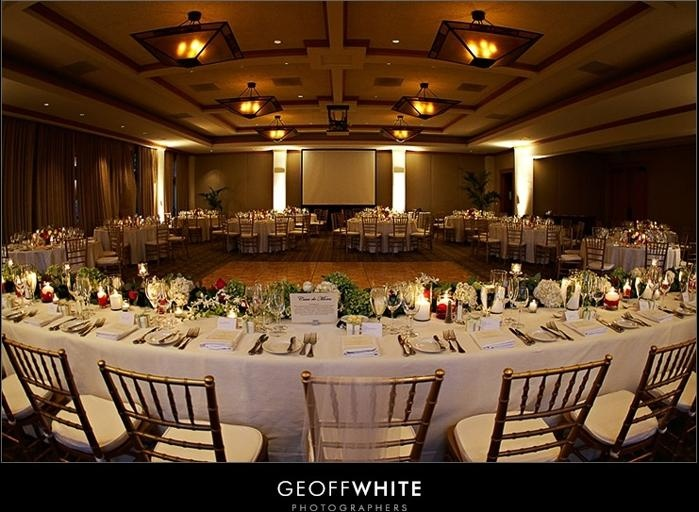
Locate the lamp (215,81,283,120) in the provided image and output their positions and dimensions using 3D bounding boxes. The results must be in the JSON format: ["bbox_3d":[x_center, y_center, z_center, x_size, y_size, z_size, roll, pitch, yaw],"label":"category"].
[{"bbox_3d":[-2.212,-3.351,9.599,0.916,0.579,1.009,-2,4,-12],"label":"lamp"}]

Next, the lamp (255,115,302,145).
[{"bbox_3d":[-2.078,-3.645,12.526,1.168,0.894,1.034,-4,13,-16],"label":"lamp"}]

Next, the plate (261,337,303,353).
[{"bbox_3d":[-0.443,0.584,2.832,0.267,0.072,0.210,-3,8,-7],"label":"plate"}]

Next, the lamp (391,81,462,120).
[{"bbox_3d":[1.699,-3.422,9.655,0.992,0.504,1.006,-3,0,-16],"label":"lamp"}]

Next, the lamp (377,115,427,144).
[{"bbox_3d":[1.733,-4.044,13.610,1.257,0.845,1.593,0,-3,1],"label":"lamp"}]

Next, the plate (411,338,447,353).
[{"bbox_3d":[0.528,0.593,2.823,0.222,0.046,0.159,-1,8,9],"label":"plate"}]
